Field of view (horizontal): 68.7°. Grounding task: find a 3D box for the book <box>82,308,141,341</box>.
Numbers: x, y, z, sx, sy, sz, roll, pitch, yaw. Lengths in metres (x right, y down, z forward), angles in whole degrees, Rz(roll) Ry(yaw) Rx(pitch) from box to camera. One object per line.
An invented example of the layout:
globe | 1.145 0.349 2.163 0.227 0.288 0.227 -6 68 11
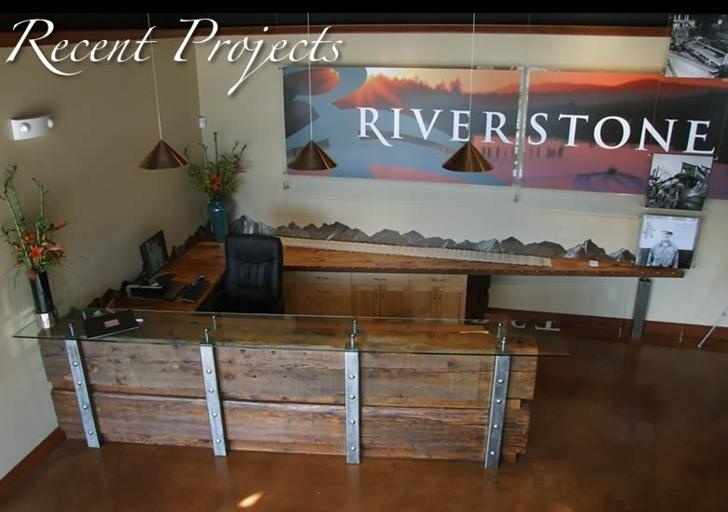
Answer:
book | -2.156 0.585 4.547 0.354 0.076 0.235 -6 29 -16

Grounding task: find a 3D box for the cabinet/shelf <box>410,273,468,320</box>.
cabinet/shelf | 0.934 0.493 6.619 0.656 0.576 0.150 -2 20 4

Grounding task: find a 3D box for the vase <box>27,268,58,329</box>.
vase | -2.767 0.377 4.610 0.161 0.513 0.191 -8 19 -30

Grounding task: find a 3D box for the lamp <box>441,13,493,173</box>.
lamp | 1.116 -1.646 5.384 0.443 1.782 1.882 5 16 12

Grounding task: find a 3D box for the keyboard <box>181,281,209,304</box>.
keyboard | -1.817 0.382 5.746 0.205 0.070 0.263 7 34 17

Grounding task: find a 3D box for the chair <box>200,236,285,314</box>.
chair | -1.243 0.229 5.911 0.813 1.094 0.894 3 33 1

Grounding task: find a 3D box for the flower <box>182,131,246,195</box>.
flower | -1.904 -1.127 6.789 0.611 0.854 0.549 7 17 17

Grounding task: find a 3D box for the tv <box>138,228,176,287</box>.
tv | -2.371 0.036 6.060 0.186 0.457 0.541 -2 29 10

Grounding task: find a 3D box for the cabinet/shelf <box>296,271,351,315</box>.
cabinet/shelf | -0.502 0.448 6.684 0.546 0.478 0.199 2 28 2
